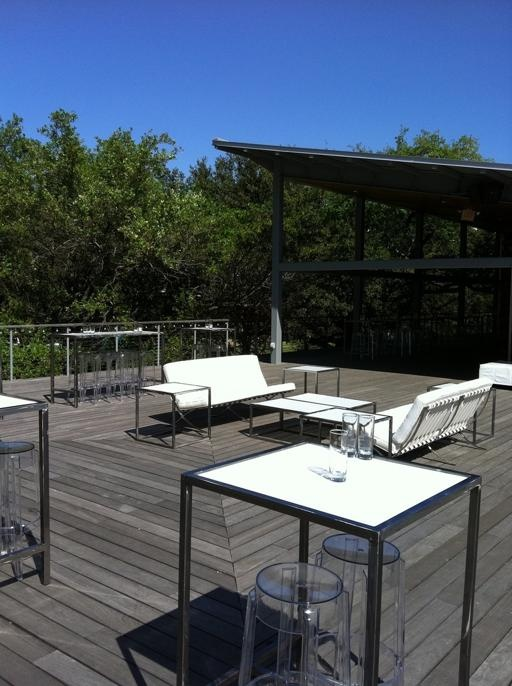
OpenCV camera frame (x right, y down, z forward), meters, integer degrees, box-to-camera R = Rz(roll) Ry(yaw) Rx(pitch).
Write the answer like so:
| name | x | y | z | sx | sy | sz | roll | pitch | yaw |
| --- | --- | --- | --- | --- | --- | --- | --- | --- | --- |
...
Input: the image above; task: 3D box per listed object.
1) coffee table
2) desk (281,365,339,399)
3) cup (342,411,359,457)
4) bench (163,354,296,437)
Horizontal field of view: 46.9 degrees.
| name | x | y | z | sx | sy | sz | roll | pitch | yaw |
| --- | --- | --- | --- | --- | --- | --- | --- | --- | --- |
| coffee table | 0.554 | 0.621 | 4.849 | 0.674 | 0.255 | 0.744 | 8 | 8 | 20 |
| desk | 0.621 | 0.346 | 6.744 | 0.522 | 0.552 | 0.573 | 1 | 2 | 34 |
| cup | 0.278 | 0.275 | 1.728 | 0.047 | 0.122 | 0.043 | 0 | -10 | 0 |
| bench | -0.325 | 0.624 | 5.622 | 0.528 | 0.344 | 1.130 | 19 | 13 | 37 |
